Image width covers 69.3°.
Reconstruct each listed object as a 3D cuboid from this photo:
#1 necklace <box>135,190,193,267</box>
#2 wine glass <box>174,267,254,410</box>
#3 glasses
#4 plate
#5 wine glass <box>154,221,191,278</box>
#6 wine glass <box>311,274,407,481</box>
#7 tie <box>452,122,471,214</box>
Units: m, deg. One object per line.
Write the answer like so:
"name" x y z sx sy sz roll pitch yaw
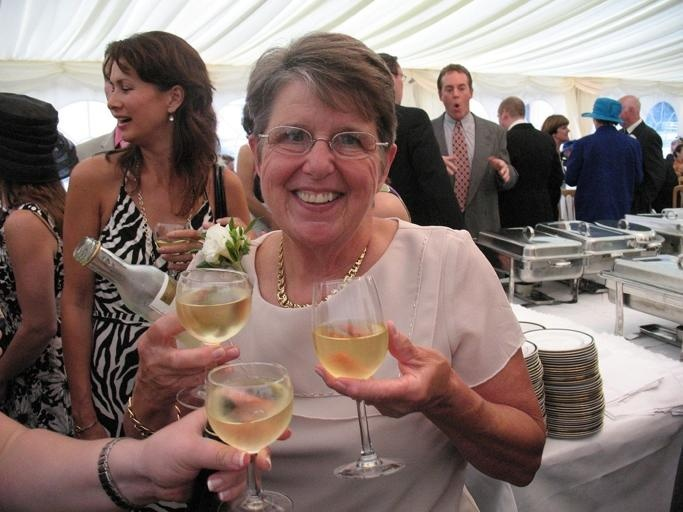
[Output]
"necklace" -0.772 -0.086 2.225 0.182 0.399 0.167 2 2 19
"wine glass" -0.412 0.210 1.618 0.259 0.408 0.259 -7 17 -33
"glasses" -0.066 -0.372 1.639 0.366 0.105 0.053 1 2 2
"plate" 0.932 0.522 2.144 0.300 0.173 0.415 -5 14 0
"wine glass" -0.788 -0.072 2.258 0.153 0.250 0.168 1 23 -19
"wine glass" 0.054 0.378 1.440 0.272 0.641 0.225 0 2 -11
"tie" 1.276 -0.984 5.397 0.247 1.363 0.135 -6 -37 19
